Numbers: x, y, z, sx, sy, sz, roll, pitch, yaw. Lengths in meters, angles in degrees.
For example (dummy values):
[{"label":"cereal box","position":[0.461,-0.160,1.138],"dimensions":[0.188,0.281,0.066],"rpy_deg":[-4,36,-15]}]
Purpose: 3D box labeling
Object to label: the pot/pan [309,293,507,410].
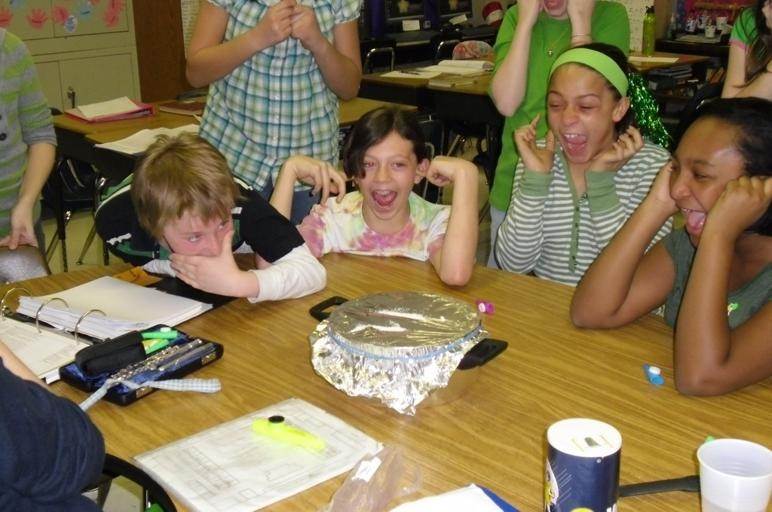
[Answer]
[{"label":"pot/pan","position":[0.030,0.202,1.420],"dimensions":[0.339,0.135,0.317],"rpy_deg":[-24,34,-38]}]
